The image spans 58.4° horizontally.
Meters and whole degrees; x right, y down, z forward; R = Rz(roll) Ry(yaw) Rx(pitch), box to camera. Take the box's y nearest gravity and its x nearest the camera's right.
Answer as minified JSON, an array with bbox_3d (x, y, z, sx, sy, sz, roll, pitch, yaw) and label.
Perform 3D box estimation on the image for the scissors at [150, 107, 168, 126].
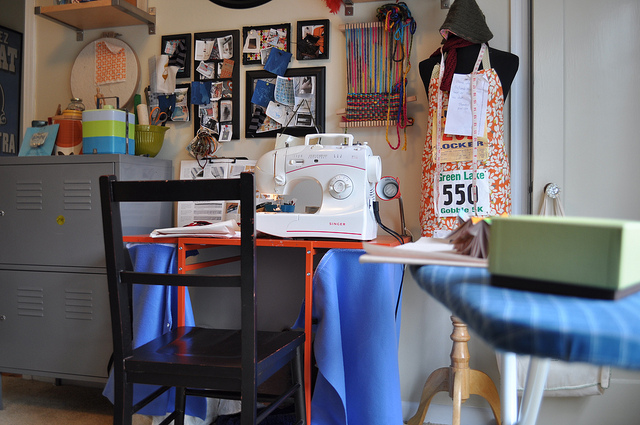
[{"bbox_3d":[-1.068,-0.618,3.738,0.116,0.122,0.029,27,4,-8],"label":"scissors"}]

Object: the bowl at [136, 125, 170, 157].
[{"bbox_3d":[-1.106,-0.455,3.686,0.213,0.193,0.209,3,-3,0],"label":"bowl"}]

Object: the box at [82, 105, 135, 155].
[{"bbox_3d":[-1.328,-0.501,3.594,0.267,0.316,0.245,0,0,25],"label":"box"}]

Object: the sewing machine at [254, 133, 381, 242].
[{"bbox_3d":[0.002,-0.119,3.000,0.530,0.505,0.237,0,-4,12],"label":"sewing machine"}]
